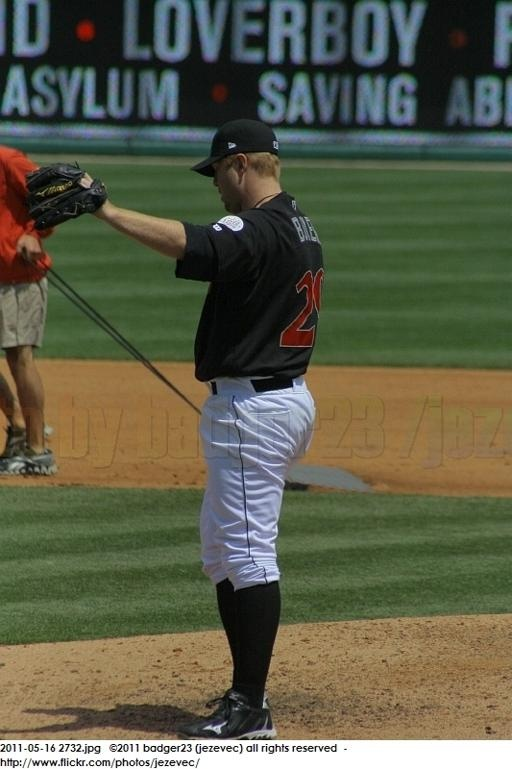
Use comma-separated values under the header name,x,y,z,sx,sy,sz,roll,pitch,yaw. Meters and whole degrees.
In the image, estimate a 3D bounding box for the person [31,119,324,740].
name,x,y,z,sx,sy,sz,roll,pitch,yaw
person,-0.264,0.163,6.383,0.991,2.560,0.479,4,6,2

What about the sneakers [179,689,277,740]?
name,x,y,z,sx,sy,sz,roll,pitch,yaw
sneakers,-0.128,1.385,6.399,0.409,0.203,0.178,1,-2,-2

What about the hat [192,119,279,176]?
name,x,y,z,sx,sy,sz,roll,pitch,yaw
hat,-0.108,-1.030,6.516,0.411,0.197,0.286,-8,0,8

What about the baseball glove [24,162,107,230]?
name,x,y,z,sx,sy,sz,roll,pitch,yaw
baseball glove,-0.776,-0.765,6.356,0.366,0.155,0.265,-16,1,-4
